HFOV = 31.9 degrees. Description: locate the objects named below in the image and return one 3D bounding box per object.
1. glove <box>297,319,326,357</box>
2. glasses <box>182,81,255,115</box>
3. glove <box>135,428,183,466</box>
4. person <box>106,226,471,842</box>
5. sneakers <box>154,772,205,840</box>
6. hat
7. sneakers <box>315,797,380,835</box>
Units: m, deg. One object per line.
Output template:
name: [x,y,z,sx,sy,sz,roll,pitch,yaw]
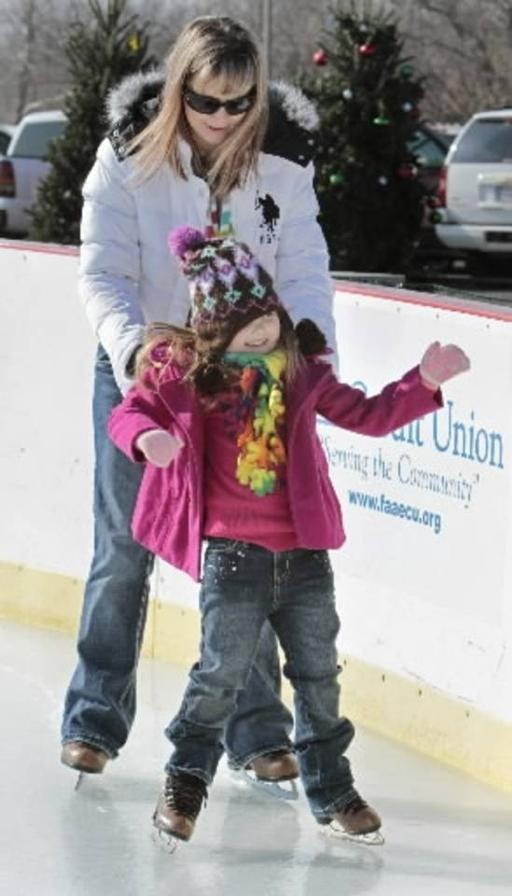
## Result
glove: [0.099,-0.199,1.638,0.052,0.068,0.019,-7,-13,-29]
glasses: [-0.072,-0.635,1.636,0.116,0.051,0.050,1,3,-6]
glove: [-0.151,-0.003,1.422,0.061,0.024,0.062,34,50,13]
person: [0.018,0.186,1.557,0.543,1.137,0.429,1,3,-9]
sneakers: [-0.142,0.662,1.658,0.061,0.072,0.168,35,1,-7]
hat: [-0.038,-0.240,1.563,0.223,0.288,0.109,1,3,-6]
sneakers: [0.183,0.680,1.687,0.148,0.067,0.056,-20,-9,42]
